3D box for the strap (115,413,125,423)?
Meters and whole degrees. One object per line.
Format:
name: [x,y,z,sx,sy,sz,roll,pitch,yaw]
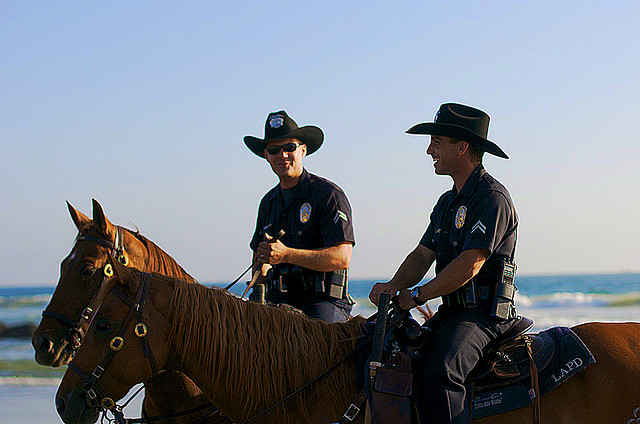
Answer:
strap: [-2.384,2.428,14.777,0.072,0.117,0.033,2,7,13]
